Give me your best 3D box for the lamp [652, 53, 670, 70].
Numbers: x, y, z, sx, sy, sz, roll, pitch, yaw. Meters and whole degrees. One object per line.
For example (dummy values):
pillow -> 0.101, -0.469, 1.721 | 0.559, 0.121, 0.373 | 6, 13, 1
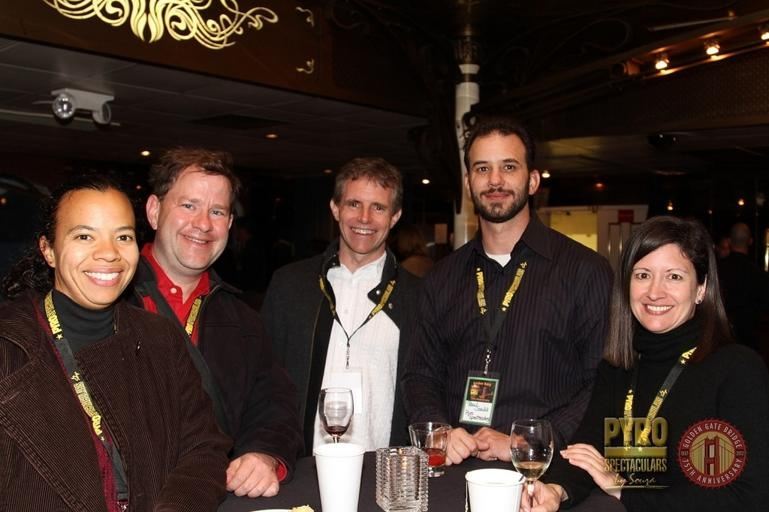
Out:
lamp -> 2.213, -1.544, 4.923 | 0.121, 0.107, 0.109 | 5, 5, 30

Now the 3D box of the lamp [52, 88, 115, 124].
lamp -> -3.371, -1.706, 7.154 | 0.733, 0.311, 0.213 | 12, 2, 15

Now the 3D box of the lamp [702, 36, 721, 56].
lamp -> 2.460, -1.565, 4.629 | 0.097, 0.081, 0.091 | -2, 0, 4

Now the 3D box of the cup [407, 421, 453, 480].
cup -> 0.209, 0.835, 2.629 | 0.231, 0.224, 0.226 | 0, -10, 0

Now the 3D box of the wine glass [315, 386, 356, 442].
wine glass -> -0.221, 0.688, 2.653 | 0.156, 0.242, 0.109 | 7, 6, 44
